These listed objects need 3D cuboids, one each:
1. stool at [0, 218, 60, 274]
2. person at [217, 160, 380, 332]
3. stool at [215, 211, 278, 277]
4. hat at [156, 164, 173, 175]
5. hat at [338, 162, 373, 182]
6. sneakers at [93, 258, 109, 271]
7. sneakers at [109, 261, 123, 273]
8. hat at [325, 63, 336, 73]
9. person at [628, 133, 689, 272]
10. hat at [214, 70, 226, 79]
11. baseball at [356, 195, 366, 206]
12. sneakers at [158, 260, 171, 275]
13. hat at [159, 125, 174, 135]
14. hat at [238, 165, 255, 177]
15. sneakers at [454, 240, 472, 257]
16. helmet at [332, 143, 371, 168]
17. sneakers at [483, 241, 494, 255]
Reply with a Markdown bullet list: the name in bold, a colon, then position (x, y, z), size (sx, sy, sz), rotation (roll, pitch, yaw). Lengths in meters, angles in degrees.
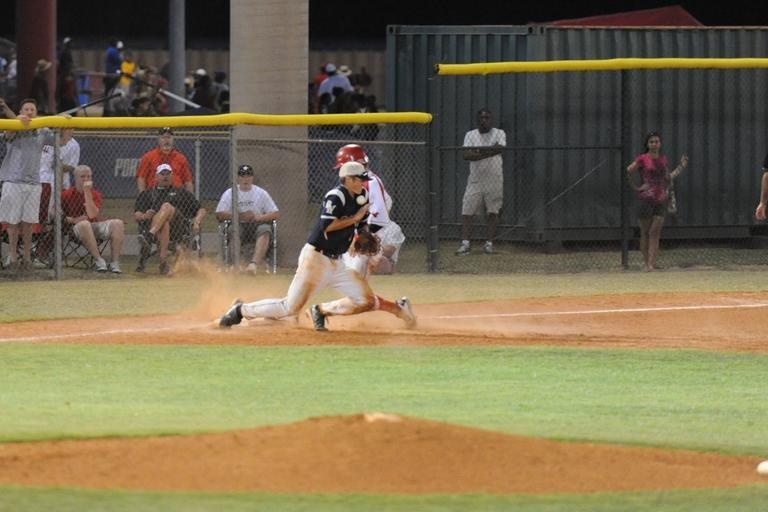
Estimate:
- **stool**: position (-5.400, -0.171, 23.667), size (0.871, 0.989, 0.760), rotation (3, -15, -1)
- **person**: position (-0.947, -0.124, 19.925), size (1.560, 2.182, 0.614), rotation (2, 4, 24)
- **stool**: position (-2.176, -0.180, 23.970), size (1.114, 0.985, 0.887), rotation (0, -1, -37)
- **hat**: position (-3.384, -1.338, 23.532), size (0.251, 0.174, 0.387), rotation (0, 3, -8)
- **hat**: position (-0.381, -1.088, 19.648), size (0.352, 0.161, 0.234), rotation (-7, 15, -7)
- **sneakers**: position (-4.380, 0.134, 23.633), size (0.134, 0.137, 0.370), rotation (-1, -1, -35)
- **sneakers**: position (-4.140, 0.175, 23.575), size (0.195, 0.201, 0.537), rotation (0, 0, -31)
- **hat**: position (-1.090, -3.741, 30.620), size (0.192, 0.195, 0.512), rotation (0, 3, -4)
- **person**: position (4.293, -0.869, 24.378), size (0.897, 2.141, 1.493), rotation (1, 3, 10)
- **hat**: position (-3.423, -3.776, 31.978), size (0.206, 0.187, 0.490), rotation (0, 3, -9)
- **baseball**: position (-0.307, -0.715, 19.561), size (0.116, 0.109, 0.061), rotation (21, -24, 9)
- **sneakers**: position (-3.400, 0.183, 23.672), size (0.178, 0.206, 0.549), rotation (1, 8, -4)
- **hat**: position (-3.388, -1.941, 23.801), size (0.234, 0.188, 0.222), rotation (0, 5, -8)
- **hat**: position (-2.153, -1.323, 23.724), size (0.210, 0.116, 0.197), rotation (0, 1, 0)
- **sneakers**: position (1.289, -0.121, 25.325), size (0.146, 0.219, 0.402), rotation (1, 1, 38)
- **helmet**: position (-0.446, -1.345, 20.442), size (0.461, 0.214, 0.311), rotation (-4, 7, -22)
- **sneakers**: position (1.688, -0.144, 25.370), size (0.162, 0.192, 0.202), rotation (1, -1, 13)
